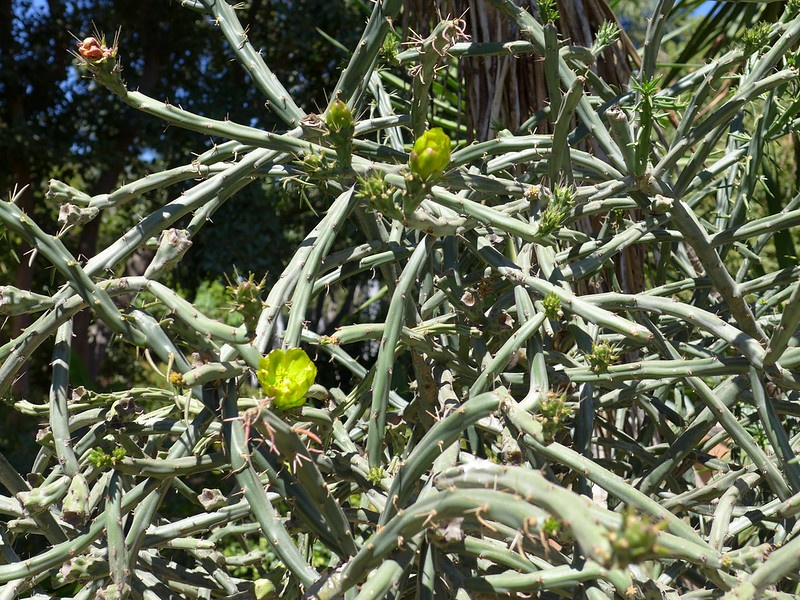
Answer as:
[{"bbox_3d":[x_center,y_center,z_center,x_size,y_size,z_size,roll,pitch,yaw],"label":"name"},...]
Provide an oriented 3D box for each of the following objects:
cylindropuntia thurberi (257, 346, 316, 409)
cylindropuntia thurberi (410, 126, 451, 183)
[{"bbox_3d":[-0.399,0.269,5.213,0.231,0.221,0.191,7,86,-31],"label":"cylindropuntia thurberi"},{"bbox_3d":[0.123,-0.494,5.218,0.092,0.094,0.155,-7,102,1],"label":"cylindropuntia thurberi"}]
